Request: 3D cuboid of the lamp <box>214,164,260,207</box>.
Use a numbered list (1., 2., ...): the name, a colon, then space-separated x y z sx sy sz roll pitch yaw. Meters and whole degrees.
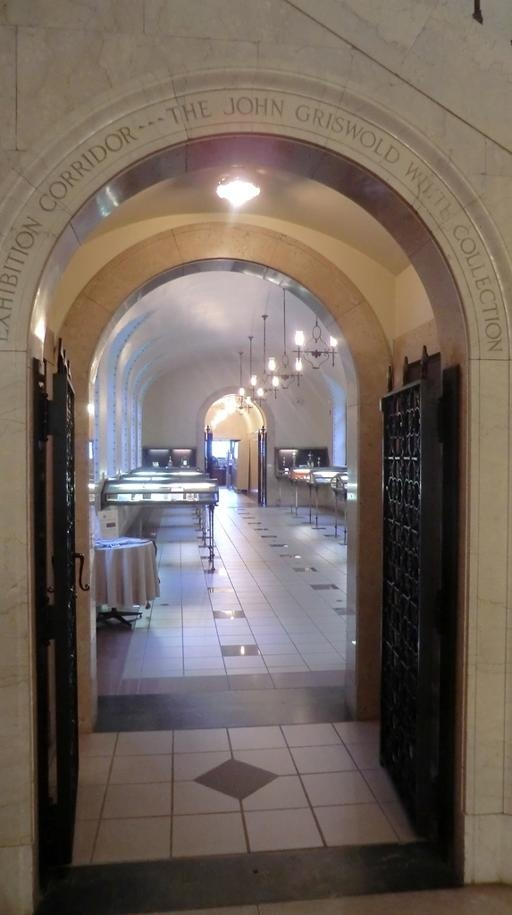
1. lamp: -0.083 -1.519 3.971 0.162 0.196 0.050 18 11 33
